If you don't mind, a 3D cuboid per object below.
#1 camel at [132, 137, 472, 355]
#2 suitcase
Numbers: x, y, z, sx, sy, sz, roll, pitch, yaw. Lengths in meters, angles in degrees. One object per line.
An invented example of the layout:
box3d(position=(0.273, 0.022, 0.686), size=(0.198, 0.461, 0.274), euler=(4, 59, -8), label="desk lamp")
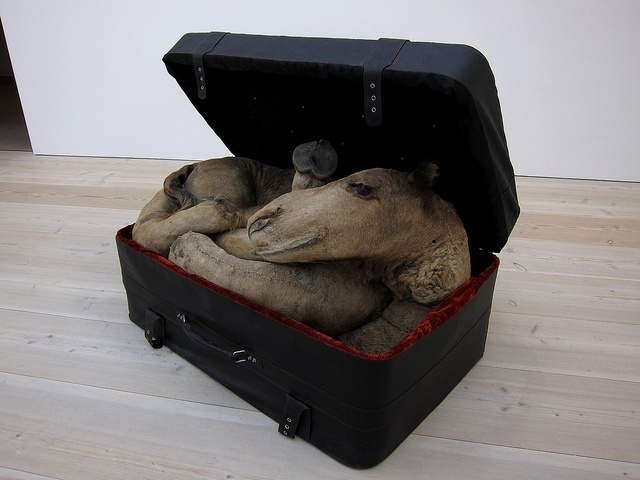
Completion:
box3d(position=(-0.099, -0.106, 2.203), size=(1.292, 0.485, 0.815), euler=(15, 26, 25), label="camel")
box3d(position=(-0.032, -0.085, 1.978), size=(1.164, 0.992, 0.932), euler=(24, 45, 29), label="suitcase")
